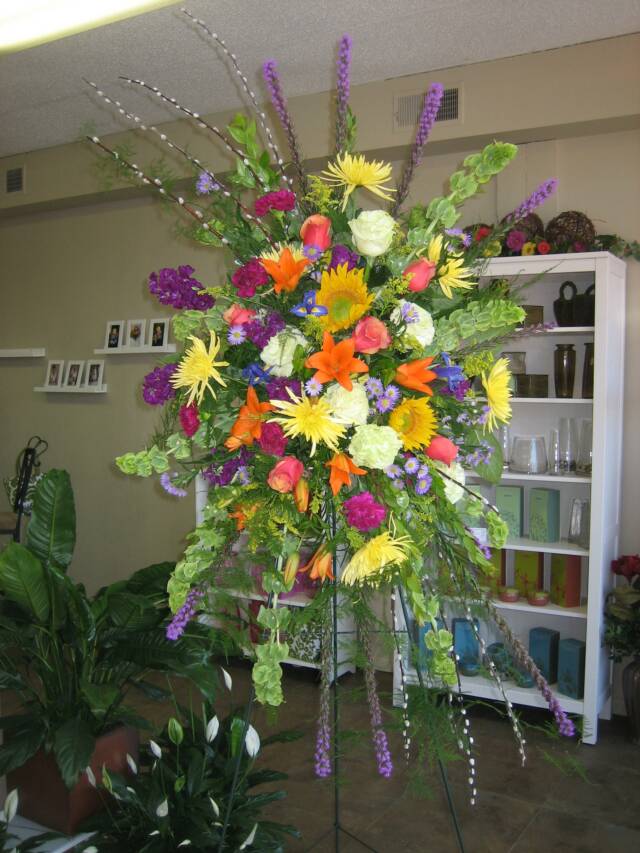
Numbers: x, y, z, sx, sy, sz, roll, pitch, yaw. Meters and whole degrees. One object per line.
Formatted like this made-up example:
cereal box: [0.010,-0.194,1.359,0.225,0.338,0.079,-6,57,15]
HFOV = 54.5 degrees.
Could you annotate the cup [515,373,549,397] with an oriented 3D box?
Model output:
cup: [1.030,-0.197,3.042,0.133,0.086,0.128,1,-4,0]

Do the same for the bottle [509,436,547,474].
bottle: [1.020,0.142,3.127,0.185,0.160,0.175,0,-2,-11]

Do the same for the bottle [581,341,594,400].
bottle: [1.243,-0.262,2.897,0.042,0.270,0.079,5,-3,16]

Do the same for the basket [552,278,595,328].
basket: [1.274,-0.574,3.090,0.225,0.349,0.264,2,4,24]
